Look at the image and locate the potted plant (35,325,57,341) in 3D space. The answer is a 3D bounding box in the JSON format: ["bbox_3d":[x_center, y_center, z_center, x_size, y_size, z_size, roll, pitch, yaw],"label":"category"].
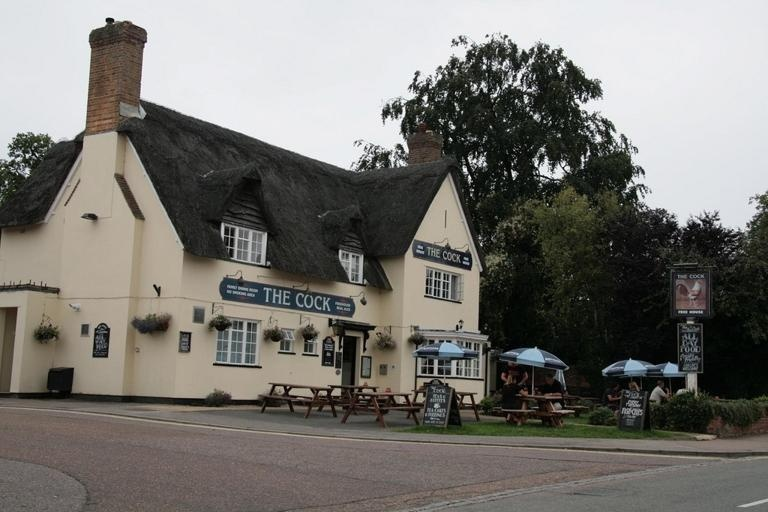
[{"bbox_3d":[-14.214,3.251,31.134,0.638,0.407,0.650,4,-8,-44],"label":"potted plant"}]

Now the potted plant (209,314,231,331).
[{"bbox_3d":[-6.826,2.835,30.855,0.658,0.524,0.661,8,-17,-40],"label":"potted plant"}]

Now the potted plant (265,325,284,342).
[{"bbox_3d":[-4.909,3.475,32.780,0.624,0.501,0.646,-6,-9,20],"label":"potted plant"}]

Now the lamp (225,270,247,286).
[{"bbox_3d":[-6.388,0.964,31.891,0.303,0.665,0.835,9,5,32],"label":"lamp"}]

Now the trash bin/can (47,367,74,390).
[{"bbox_3d":[-13.663,5.298,31.223,1.135,1.248,0.846,-3,-14,15],"label":"trash bin/can"}]

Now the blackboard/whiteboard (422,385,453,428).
[{"bbox_3d":[1.870,5.246,25.545,0.997,1.376,0.881,-3,-10,36],"label":"blackboard/whiteboard"}]

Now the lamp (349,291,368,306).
[{"bbox_3d":[-1.200,2.176,37.281,0.340,0.732,1.423,9,5,32],"label":"lamp"}]

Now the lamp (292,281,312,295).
[{"bbox_3d":[-3.795,1.518,34.470,0.161,0.553,1.032,10,6,42],"label":"lamp"}]

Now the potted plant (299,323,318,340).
[{"bbox_3d":[-3.517,3.545,34.357,0.703,0.650,0.699,10,-12,-44],"label":"potted plant"}]

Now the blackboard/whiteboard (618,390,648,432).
[{"bbox_3d":[8.706,5.378,26.234,0.894,1.412,0.706,4,25,3],"label":"blackboard/whiteboard"}]
